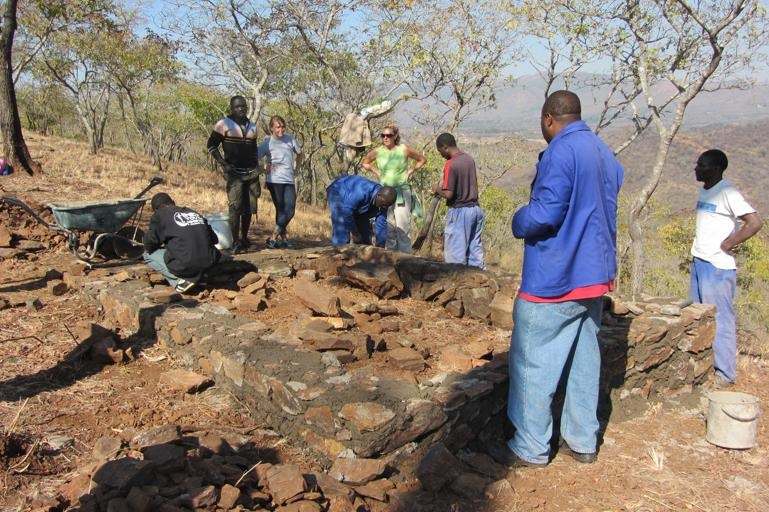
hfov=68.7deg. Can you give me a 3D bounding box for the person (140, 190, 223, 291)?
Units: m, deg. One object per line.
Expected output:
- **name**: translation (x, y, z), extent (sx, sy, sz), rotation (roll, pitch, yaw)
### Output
- **person**: translation (-2.772, -0.232, 7.686), extent (0.966, 1.273, 0.951), rotation (10, 19, 38)

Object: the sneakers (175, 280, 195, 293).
- **sneakers**: translation (-2.653, 0.407, 7.490), extent (0.201, 0.193, 0.151), rotation (25, 28, 37)

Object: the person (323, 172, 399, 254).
- **person**: translation (-0.350, -0.724, 9.005), extent (1.232, 1.135, 0.575), rotation (12, 18, 28)

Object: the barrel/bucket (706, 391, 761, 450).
- **barrel/bucket**: translation (3.819, 1.807, 6.179), extent (0.512, 0.478, 0.499), rotation (-5, 3, 0)

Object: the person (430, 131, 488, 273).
- **person**: translation (1.127, -0.816, 8.427), extent (0.972, 1.969, 0.683), rotation (18, 22, 41)

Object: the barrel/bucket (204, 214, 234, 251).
- **barrel/bucket**: translation (-2.577, -0.390, 8.872), extent (0.560, 0.587, 0.538), rotation (0, 9, 0)

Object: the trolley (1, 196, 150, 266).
- **trolley**: translation (-4.404, -0.457, 8.276), extent (2.164, 0.918, 1.042), rotation (-4, 11, -41)

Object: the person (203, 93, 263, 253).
- **person**: translation (-2.342, -1.324, 8.871), extent (0.632, 2.404, 0.782), rotation (7, 17, 11)

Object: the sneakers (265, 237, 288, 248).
- **sneakers**: translation (-1.816, -0.215, 9.324), extent (0.410, 0.164, 0.157), rotation (0, 3, 13)

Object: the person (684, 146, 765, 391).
- **person**: translation (4.161, 0.153, 7.081), extent (0.357, 2.917, 0.979), rotation (-10, 21, -37)

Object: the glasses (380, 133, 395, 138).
- **glasses**: translation (0.041, -1.949, 8.967), extent (0.211, 0.078, 0.091), rotation (5, 15, 9)
